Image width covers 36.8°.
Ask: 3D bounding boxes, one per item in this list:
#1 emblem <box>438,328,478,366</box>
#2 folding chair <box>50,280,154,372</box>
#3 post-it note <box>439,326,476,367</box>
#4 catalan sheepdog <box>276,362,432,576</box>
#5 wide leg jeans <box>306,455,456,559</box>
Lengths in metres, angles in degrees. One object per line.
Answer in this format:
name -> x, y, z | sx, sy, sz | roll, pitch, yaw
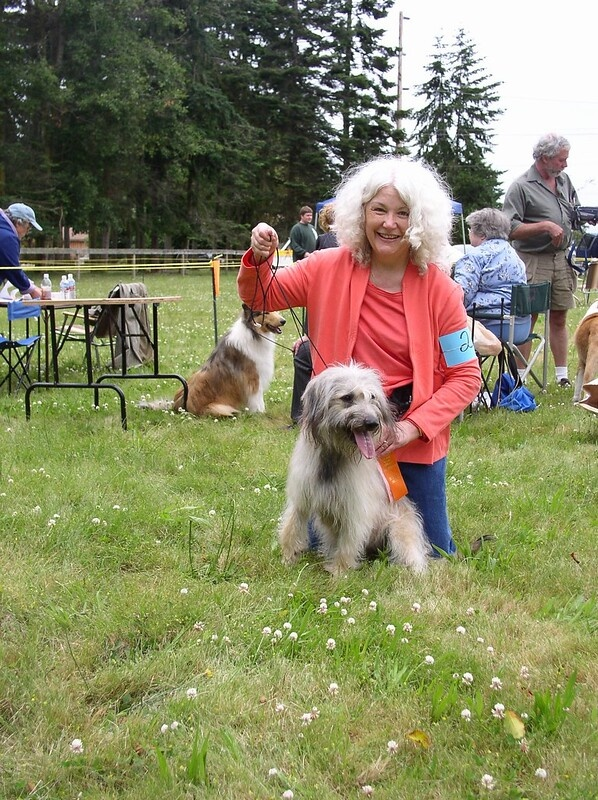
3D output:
emblem -> 0.742, -0.234, 4.293 | 0.169, 0.175, 0.174 | -22, -11, -3
folding chair -> -2.135, -0.795, 10.220 | 1.116, 1.532, 1.165 | -6, 16, -22
post-it note -> 0.739, -0.230, 4.312 | 0.173, 0.180, 0.178 | -24, -5, -4
catalan sheepdog -> 0.234, 0.307, 4.163 | 0.668, 0.966, 0.692 | 5, 6, 36
wide leg jeans -> 0.508, 0.447, 4.563 | 0.440, 0.663, 0.343 | -7, -2, -20
